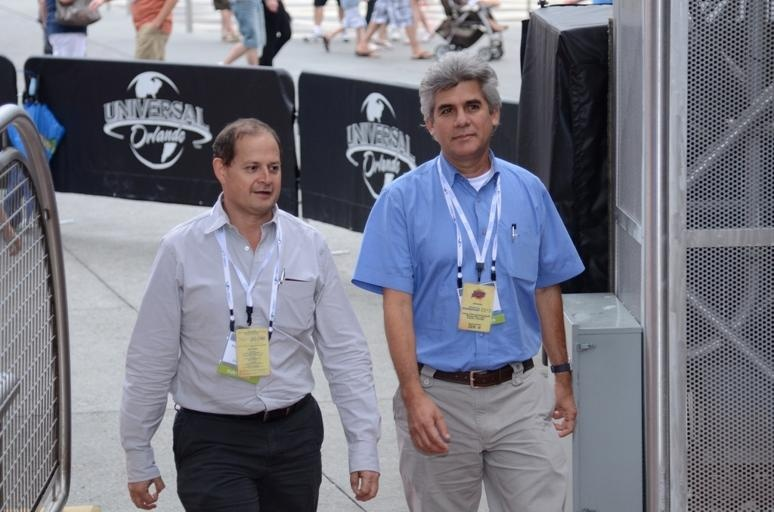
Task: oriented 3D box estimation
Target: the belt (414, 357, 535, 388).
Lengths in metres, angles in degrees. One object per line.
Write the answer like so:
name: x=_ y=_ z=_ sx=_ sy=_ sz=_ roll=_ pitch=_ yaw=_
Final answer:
belt: x=0.408 y=0.548 z=4.056 sx=0.443 sy=0.094 sz=0.064 roll=-1 pitch=13 yaw=-4
